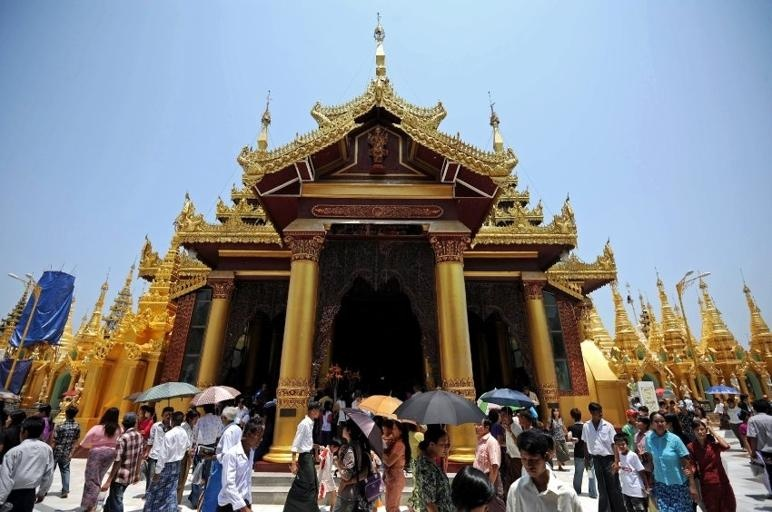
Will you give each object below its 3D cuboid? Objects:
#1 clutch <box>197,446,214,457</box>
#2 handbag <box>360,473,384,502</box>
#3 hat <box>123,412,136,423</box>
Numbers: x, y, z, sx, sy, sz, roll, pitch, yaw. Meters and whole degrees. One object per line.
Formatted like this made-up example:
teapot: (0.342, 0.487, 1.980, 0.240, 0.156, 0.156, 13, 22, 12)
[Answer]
clutch: (-4.497, 4.896, 11.152, 0.374, 0.248, 0.993, 11, -26, -23)
handbag: (-0.248, 4.596, 8.843, 0.185, 0.488, 0.511, -16, -28, 33)
hat: (-5.807, 3.642, 10.029, 0.193, 0.241, 0.234, 5, -1, -9)
